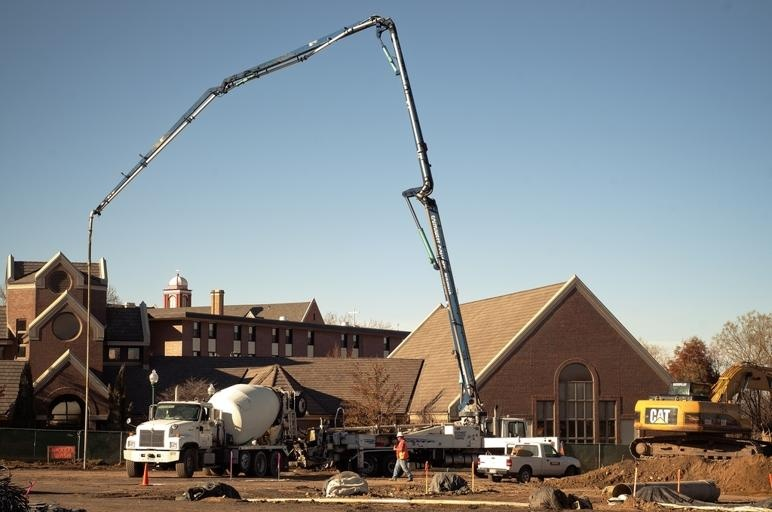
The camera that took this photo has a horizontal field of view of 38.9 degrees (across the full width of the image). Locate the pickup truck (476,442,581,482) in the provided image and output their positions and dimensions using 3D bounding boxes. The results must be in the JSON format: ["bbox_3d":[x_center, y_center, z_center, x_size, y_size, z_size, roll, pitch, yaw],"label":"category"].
[{"bbox_3d":[8.080,11.591,61.218,6.177,2.042,2.694,8,-11,-42],"label":"pickup truck"}]
